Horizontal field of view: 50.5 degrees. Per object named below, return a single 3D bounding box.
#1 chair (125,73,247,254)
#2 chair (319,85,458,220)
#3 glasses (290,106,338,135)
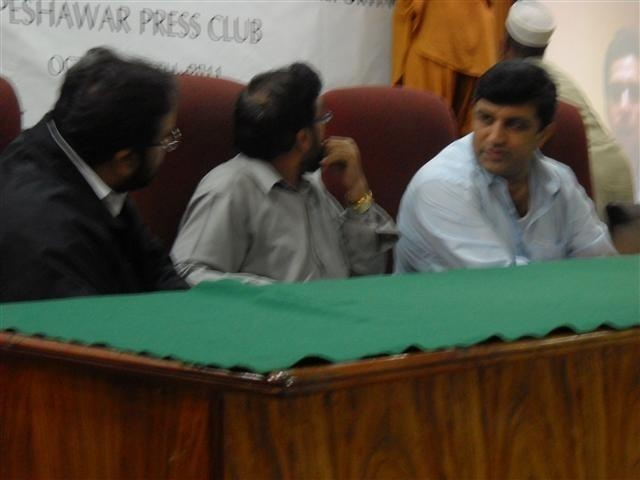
[{"bbox_3d":[-0.205,-0.131,1.122,0.183,0.268,0.211,1,3,-10],"label":"chair"},{"bbox_3d":[0.121,-0.147,1.218,0.166,0.288,0.218,0,2,6],"label":"chair"},{"bbox_3d":[0.000,-0.189,1.072,0.043,0.014,0.041,-42,15,-12],"label":"glasses"}]
